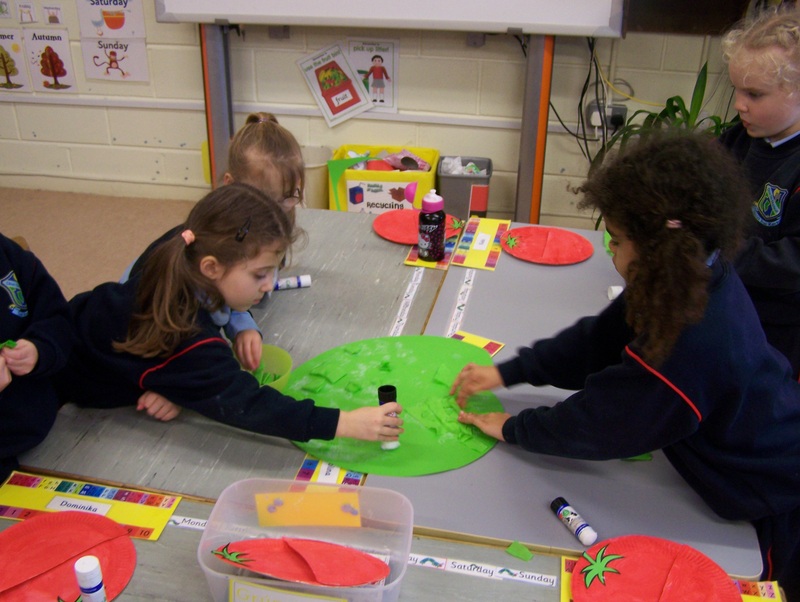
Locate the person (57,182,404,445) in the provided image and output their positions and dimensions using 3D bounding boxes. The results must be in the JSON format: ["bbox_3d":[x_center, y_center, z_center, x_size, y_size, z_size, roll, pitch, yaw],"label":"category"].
[{"bbox_3d":[-0.398,0.006,1.315,0.875,0.468,0.324,6,29,13],"label":"person"}]

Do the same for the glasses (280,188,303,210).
[{"bbox_3d":[-0.318,-0.307,1.783,0.057,0.072,0.063,-7,67,-8],"label":"glasses"}]
